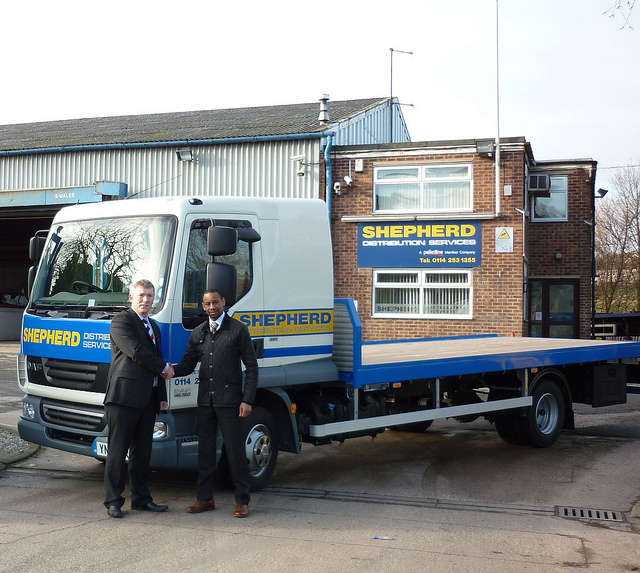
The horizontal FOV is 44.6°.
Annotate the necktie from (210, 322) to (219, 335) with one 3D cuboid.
[{"bbox_3d":[-0.955,0.360,7.115,0.063,0.087,0.020,-12,15,-6],"label":"necktie"}]

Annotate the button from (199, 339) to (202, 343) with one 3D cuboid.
[{"bbox_3d":[-1.073,0.482,7.094,0.023,0.019,0.008,1,0,-3],"label":"button"}]

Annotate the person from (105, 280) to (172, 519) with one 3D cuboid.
[{"bbox_3d":[-1.626,0.991,7.052,0.574,1.865,0.458,1,0,-13],"label":"person"}]

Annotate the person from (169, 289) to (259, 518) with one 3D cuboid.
[{"bbox_3d":[-0.928,1.037,7.123,0.723,1.669,0.317,1,0,-4],"label":"person"}]

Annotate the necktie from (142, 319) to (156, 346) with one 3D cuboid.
[{"bbox_3d":[-1.540,0.352,7.037,0.043,0.338,0.037,-21,-12,-5],"label":"necktie"}]

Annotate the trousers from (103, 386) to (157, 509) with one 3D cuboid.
[{"bbox_3d":[-1.705,1.460,7.074,0.453,0.976,0.284,1,-1,-18],"label":"trousers"}]

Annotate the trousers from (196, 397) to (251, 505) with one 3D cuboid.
[{"bbox_3d":[-0.908,1.391,7.199,0.488,1.597,0.387,-4,24,-10],"label":"trousers"}]

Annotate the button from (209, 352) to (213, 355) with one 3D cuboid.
[{"bbox_3d":[-0.975,0.591,7.057,0.020,0.025,0.005,-1,-1,-5],"label":"button"}]

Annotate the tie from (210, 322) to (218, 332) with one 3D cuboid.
[{"bbox_3d":[-0.954,0.349,7.119,0.061,0.087,0.019,1,-2,4],"label":"tie"}]

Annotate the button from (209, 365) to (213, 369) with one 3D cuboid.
[{"bbox_3d":[-0.975,0.708,7.060,0.030,0.019,0.002,1,0,13],"label":"button"}]

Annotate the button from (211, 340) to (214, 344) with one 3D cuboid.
[{"bbox_3d":[-0.963,0.485,7.069,0.023,0.027,0.006,-1,-4,-1],"label":"button"}]

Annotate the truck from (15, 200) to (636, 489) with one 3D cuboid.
[{"bbox_3d":[0.641,0.525,10.131,8.094,3.363,3.311,4,-5,-45],"label":"truck"}]
